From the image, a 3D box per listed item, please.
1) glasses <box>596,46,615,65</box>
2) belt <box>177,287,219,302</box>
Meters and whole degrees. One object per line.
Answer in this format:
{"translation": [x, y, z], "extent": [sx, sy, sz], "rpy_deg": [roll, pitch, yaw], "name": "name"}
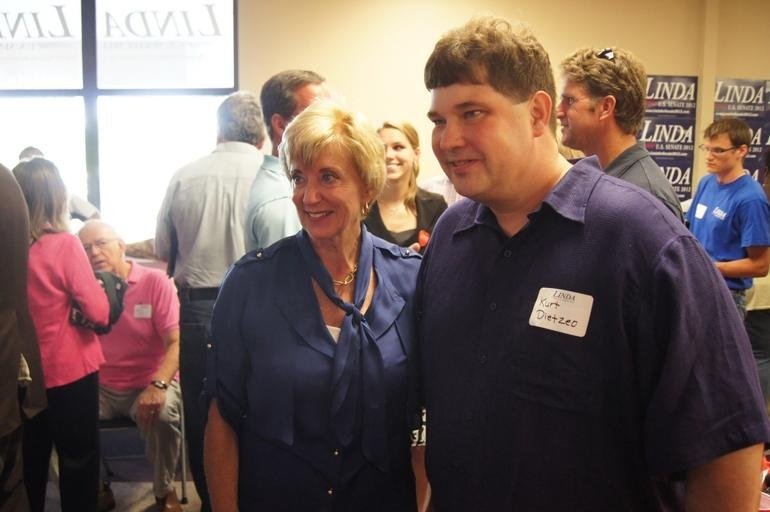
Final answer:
{"translation": [1.150, -1.047, 3.377], "extent": [0.072, 0.039, 0.094], "rpy_deg": [10, 31, 23], "name": "glasses"}
{"translation": [-1.118, 0.221, 3.835], "extent": [0.267, 0.088, 0.060], "rpy_deg": [3, 12, 12], "name": "belt"}
